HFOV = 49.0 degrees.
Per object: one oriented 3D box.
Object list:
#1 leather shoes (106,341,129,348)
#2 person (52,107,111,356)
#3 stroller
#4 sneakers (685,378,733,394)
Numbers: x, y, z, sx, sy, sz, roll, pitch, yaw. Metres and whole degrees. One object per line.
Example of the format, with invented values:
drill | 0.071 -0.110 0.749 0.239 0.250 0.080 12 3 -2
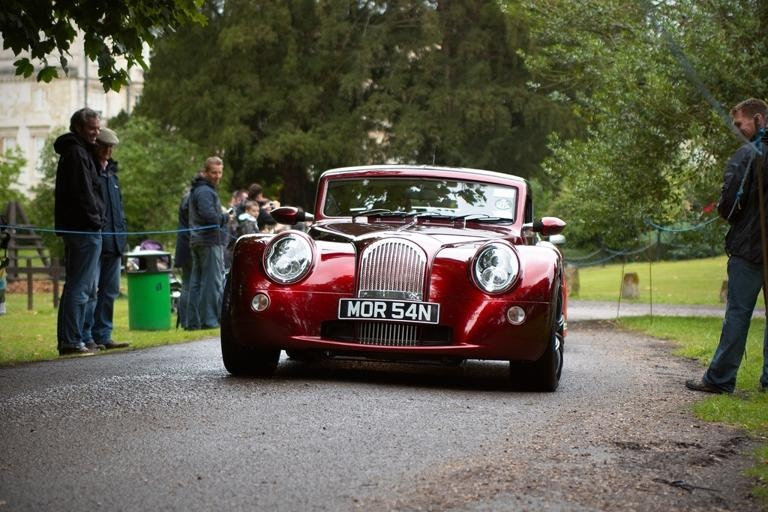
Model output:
leather shoes | -3.394 1.127 10.693 0.259 0.114 0.095 -3 5 -4
person | -3.634 -0.320 10.016 0.526 2.904 0.808 2 5 12
stroller | -4.776 0.261 17.520 0.684 1.048 1.024 2 13 7
sneakers | 3.157 1.274 8.178 0.380 0.169 0.141 10 9 31
